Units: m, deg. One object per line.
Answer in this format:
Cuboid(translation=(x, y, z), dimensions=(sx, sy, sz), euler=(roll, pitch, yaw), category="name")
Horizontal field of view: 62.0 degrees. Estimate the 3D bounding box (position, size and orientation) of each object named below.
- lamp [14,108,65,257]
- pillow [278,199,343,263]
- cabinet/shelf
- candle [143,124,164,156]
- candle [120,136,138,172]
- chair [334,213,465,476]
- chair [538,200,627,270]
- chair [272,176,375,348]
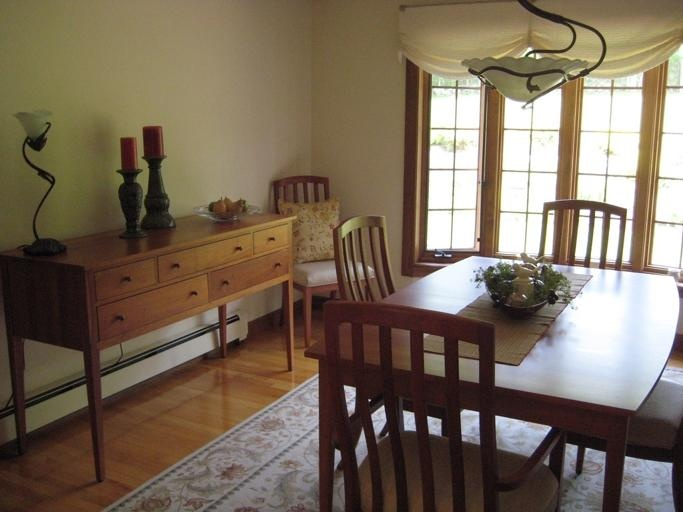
Cuboid(translation=(-1.543, -0.377, 2.868), dimensions=(0.204, 0.685, 0.481), euler=(-7, 14, -25), category="lamp")
Cuboid(translation=(-0.144, -0.227, 4.757), dimensions=(0.211, 0.565, 0.591), euler=(-12, -2, 10), category="pillow")
Cuboid(translation=(-1.090, 0.494, 3.130), dimensions=(0.452, 0.882, 1.210), euler=(9, 17, 29), category="cabinet/shelf")
Cuboid(translation=(-1.090, -0.663, 3.286), dimensions=(0.106, 0.171, 0.137), euler=(-5, 13, -18), category="candle")
Cuboid(translation=(-1.158, -0.554, 3.092), dimensions=(0.086, 0.177, 0.091), euler=(-6, 14, -22), category="candle")
Cuboid(translation=(0.339, 0.369, 3.064), dimensions=(0.689, 1.087, 0.645), euler=(14, 18, 41), category="chair")
Cuboid(translation=(1.669, -0.147, 3.910), dimensions=(0.448, 0.787, 0.446), euler=(6, 5, 24), category="chair")
Cuboid(translation=(0.053, 0.179, 4.506), dimensions=(0.566, 1.077, 0.690), euler=(-2, -15, 12), category="chair")
